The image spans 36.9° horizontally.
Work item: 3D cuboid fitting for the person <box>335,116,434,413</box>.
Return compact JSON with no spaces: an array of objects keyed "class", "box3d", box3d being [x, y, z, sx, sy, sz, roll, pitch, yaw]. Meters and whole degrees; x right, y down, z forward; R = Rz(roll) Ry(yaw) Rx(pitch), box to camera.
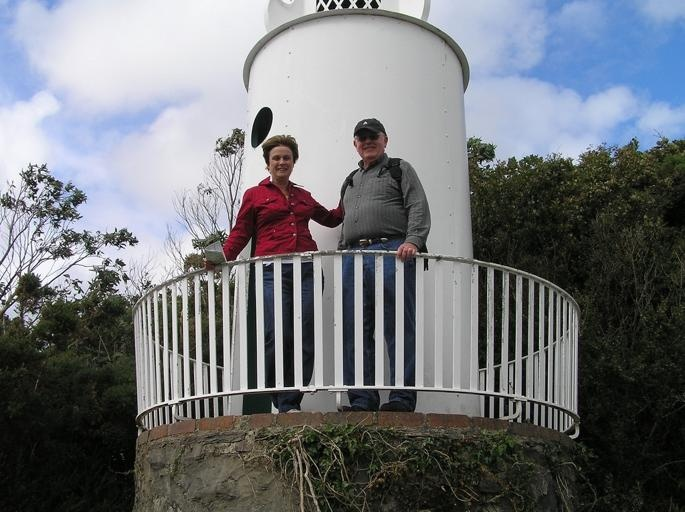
[{"class":"person","box3d":[0.457,0.050,11.752,1.099,3.448,0.856,-2,-9,11]}]
